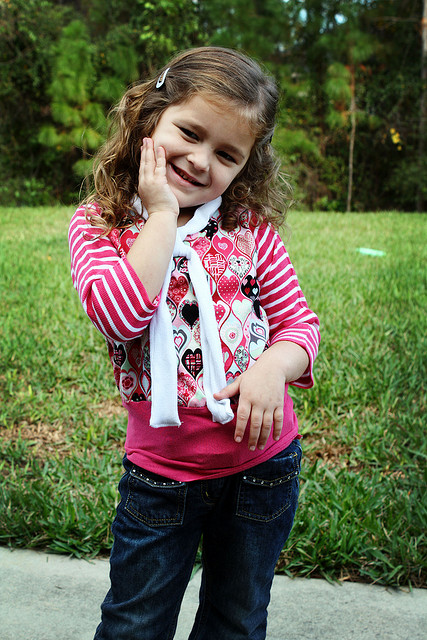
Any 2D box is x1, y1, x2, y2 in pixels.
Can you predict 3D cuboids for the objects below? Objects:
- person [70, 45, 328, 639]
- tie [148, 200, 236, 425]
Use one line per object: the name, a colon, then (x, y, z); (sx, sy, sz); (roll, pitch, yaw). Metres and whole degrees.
person: (-0.028, 0.056, 1.061); (0.492, 1.178, 0.409); (3, 7, -16)
tie: (-0.032, -0.022, 0.985); (0.157, 0.394, 0.228); (3, 7, -11)
